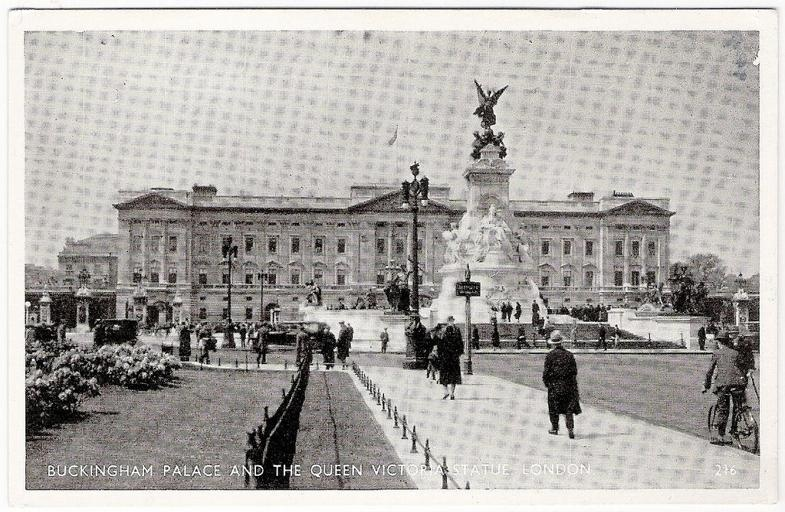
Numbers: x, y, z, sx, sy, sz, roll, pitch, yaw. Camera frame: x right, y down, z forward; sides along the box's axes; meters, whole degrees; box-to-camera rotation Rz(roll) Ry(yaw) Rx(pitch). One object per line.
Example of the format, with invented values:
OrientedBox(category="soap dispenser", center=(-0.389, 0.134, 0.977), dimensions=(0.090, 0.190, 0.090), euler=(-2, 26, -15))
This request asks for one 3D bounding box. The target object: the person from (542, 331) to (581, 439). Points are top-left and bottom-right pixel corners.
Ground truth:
OrientedBox(category="person", center=(4.104, 3.062, 23.932), dimensions=(0.875, 2.514, 0.633), euler=(1, 4, 28))
